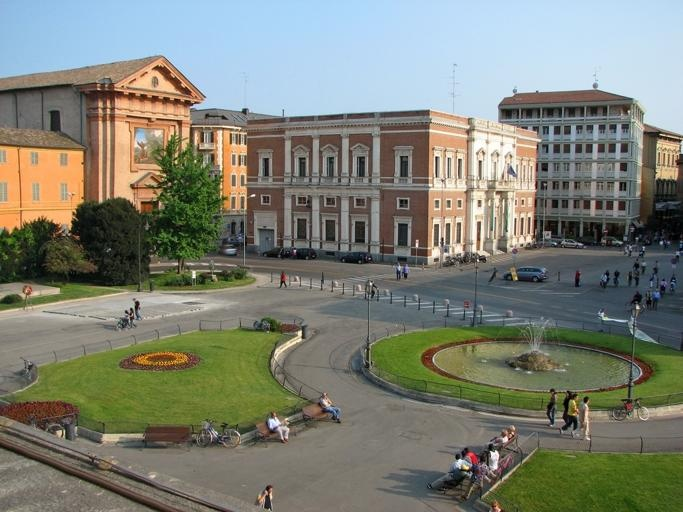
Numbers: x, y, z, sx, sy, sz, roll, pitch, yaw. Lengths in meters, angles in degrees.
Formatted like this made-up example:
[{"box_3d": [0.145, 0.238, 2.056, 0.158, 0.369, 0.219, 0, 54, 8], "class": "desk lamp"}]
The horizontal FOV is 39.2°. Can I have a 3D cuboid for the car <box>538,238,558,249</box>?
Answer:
[{"box_3d": [30.543, -1.780, 142.071, 2.757, 1.145, 1.352, -1, 6, 14], "class": "car"}]

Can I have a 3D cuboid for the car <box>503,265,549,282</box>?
[{"box_3d": [19.354, 1.885, 100.957, 4.132, 1.234, 1.835, 3, 3, 17], "class": "car"}]

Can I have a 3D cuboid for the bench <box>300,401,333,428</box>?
[{"box_3d": [-1.699, 9.838, 59.439, 1.175, 1.063, 2.014, 0, -2, 44], "class": "bench"}]

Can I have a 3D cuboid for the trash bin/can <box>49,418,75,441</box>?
[{"box_3d": [-16.157, 10.065, 55.840, 1.662, 1.088, 1.063, 4, 7, 12], "class": "trash bin/can"}]

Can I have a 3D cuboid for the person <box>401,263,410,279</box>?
[{"box_3d": [6.620, 1.728, 100.400, 0.608, 1.250, 1.251, 2, 13, 2], "class": "person"}]

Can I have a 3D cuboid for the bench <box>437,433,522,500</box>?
[{"box_3d": [8.084, 11.710, 53.803, 2.410, 1.502, 5.038, 13, 25, 43], "class": "bench"}]

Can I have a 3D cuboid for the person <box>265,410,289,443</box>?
[{"box_3d": [-3.752, 10.130, 57.095, 1.426, 1.808, 1.131, -4, 14, -23], "class": "person"}]

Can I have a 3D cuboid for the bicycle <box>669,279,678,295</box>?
[{"box_3d": [32.626, 3.112, 94.369, 1.022, 0.899, 2.511, 11, -5, 29], "class": "bicycle"}]

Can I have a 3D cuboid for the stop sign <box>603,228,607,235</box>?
[{"box_3d": [41.522, -3.896, 151.289, 1.113, 1.158, 0.173, -2, 8, -5], "class": "stop sign"}]

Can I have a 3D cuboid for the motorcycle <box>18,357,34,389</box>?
[{"box_3d": [-20.466, 7.778, 62.808, 0.636, 1.599, 1.235, -4, 13, -37], "class": "motorcycle"}]

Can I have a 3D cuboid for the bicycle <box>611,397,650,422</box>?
[{"box_3d": [18.025, 9.565, 59.702, 2.304, 1.247, 1.236, 5, 13, 14], "class": "bicycle"}]

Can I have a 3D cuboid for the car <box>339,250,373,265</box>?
[{"box_3d": [1.706, 0.173, 112.471, 2.839, 1.069, 1.591, 5, 5, 20], "class": "car"}]

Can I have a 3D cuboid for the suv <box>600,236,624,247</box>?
[{"box_3d": [40.469, -2.052, 143.773, 3.219, 0.967, 1.424, 3, 6, 18], "class": "suv"}]

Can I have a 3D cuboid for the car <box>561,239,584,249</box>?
[{"box_3d": [33.460, -1.693, 139.112, 2.382, 0.796, 1.419, -1, 1, 33], "class": "car"}]

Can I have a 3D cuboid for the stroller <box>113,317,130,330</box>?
[{"box_3d": [-17.043, 5.319, 74.480, 0.820, 0.710, 1.212, -2, -5, 6], "class": "stroller"}]
